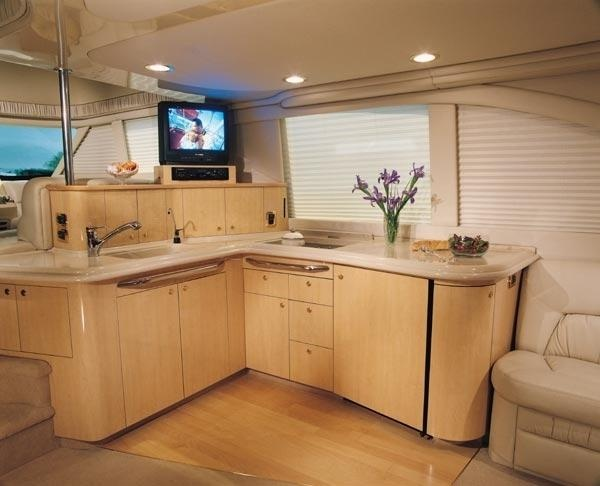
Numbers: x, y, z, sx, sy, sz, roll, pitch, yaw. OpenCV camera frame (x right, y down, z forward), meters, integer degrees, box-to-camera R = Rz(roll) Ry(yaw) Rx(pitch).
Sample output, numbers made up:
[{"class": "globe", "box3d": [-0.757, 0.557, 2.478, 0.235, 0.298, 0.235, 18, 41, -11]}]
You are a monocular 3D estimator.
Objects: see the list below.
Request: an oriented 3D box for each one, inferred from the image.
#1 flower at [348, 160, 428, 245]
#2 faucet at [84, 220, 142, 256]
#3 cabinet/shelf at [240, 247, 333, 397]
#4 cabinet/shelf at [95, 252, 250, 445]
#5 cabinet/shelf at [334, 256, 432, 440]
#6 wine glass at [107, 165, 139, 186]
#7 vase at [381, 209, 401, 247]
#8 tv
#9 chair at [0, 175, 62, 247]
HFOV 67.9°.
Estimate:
[{"class": "flower", "box3d": [0.670, -0.317, 3.421, 0.570, 0.576, 0.412, 9, 18, 30]}, {"class": "faucet", "box3d": [-1.278, -0.050, 3.052, 0.342, 0.198, 0.310, -6, 15, -23]}, {"class": "cabinet/shelf", "box3d": [0.080, 0.596, 3.480, 0.832, 0.849, 0.590, 5, 8, 44]}, {"class": "cabinet/shelf", "box3d": [-0.869, 0.700, 2.917, 0.480, 0.973, 1.208, 3, 9, 34]}, {"class": "cabinet/shelf", "box3d": [0.701, 0.660, 3.054, 0.597, 0.893, 0.789, 0, 3, -44]}, {"class": "wine glass", "box3d": [-1.364, -0.518, 3.458, 0.234, 0.137, 0.216, -4, 18, -23]}, {"class": "vase", "box3d": [0.697, -0.127, 3.382, 0.109, 0.259, 0.308, 4, 15, 14]}, {"class": "tv", "box3d": [-0.904, -0.922, 3.730, 0.622, 0.435, 0.325, -7, 17, -34]}, {"class": "chair", "box3d": [-1.824, -0.214, 3.138, 0.348, 0.487, 0.249, -7, 17, -24]}]
